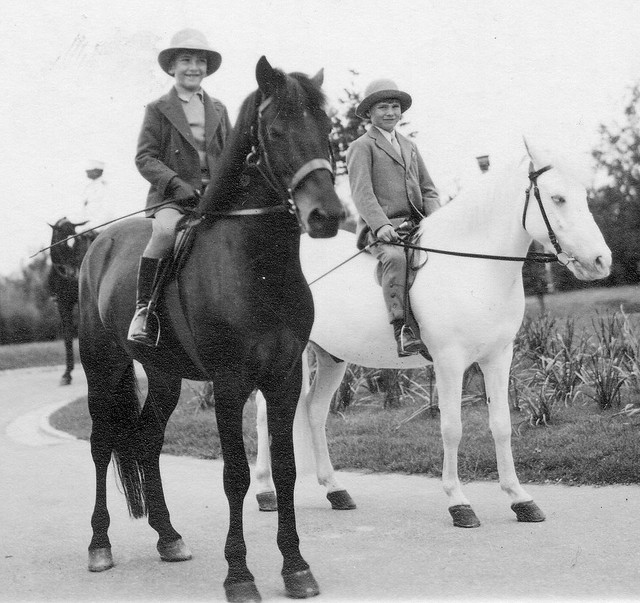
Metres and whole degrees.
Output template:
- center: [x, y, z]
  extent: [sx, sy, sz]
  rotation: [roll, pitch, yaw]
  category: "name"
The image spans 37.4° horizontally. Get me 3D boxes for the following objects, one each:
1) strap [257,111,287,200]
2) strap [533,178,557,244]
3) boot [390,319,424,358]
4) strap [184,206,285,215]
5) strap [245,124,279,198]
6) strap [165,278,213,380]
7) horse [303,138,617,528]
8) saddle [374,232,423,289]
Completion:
- center: [-0.296, -0.817, 5.295]
  extent: [0.090, 0.473, 0.146]
  rotation: [-17, 6, -12]
  category: "strap"
- center: [1.542, -0.631, 6.490]
  extent: [0.102, 0.452, 0.074]
  rotation: [-23, -5, 18]
  category: "strap"
- center: [0.630, 0.260, 6.807]
  extent: [0.215, 0.283, 0.169]
  rotation: [-4, 8, 10]
  category: "boot"
- center: [-0.475, -0.536, 5.538]
  extent: [0.461, 0.039, 0.055]
  rotation: [4, 44, 27]
  category: "strap"
- center: [-0.316, -0.840, 5.431]
  extent: [0.117, 0.167, 0.432]
  rotation: [-35, -27, 0]
  category: "strap"
- center: [-0.785, 0.135, 5.690]
  extent: [0.090, 0.695, 0.114]
  rotation: [-17, 18, 35]
  category: "strap"
- center: [0.884, 0.218, 6.990]
  extent: [1.244, 2.717, 2.231]
  rotation: [-11, 9, -34]
  category: "horse"
- center: [0.596, -0.223, 6.885]
  extent: [0.181, 0.289, 0.443]
  rotation: [-4, -19, 16]
  category: "saddle"
